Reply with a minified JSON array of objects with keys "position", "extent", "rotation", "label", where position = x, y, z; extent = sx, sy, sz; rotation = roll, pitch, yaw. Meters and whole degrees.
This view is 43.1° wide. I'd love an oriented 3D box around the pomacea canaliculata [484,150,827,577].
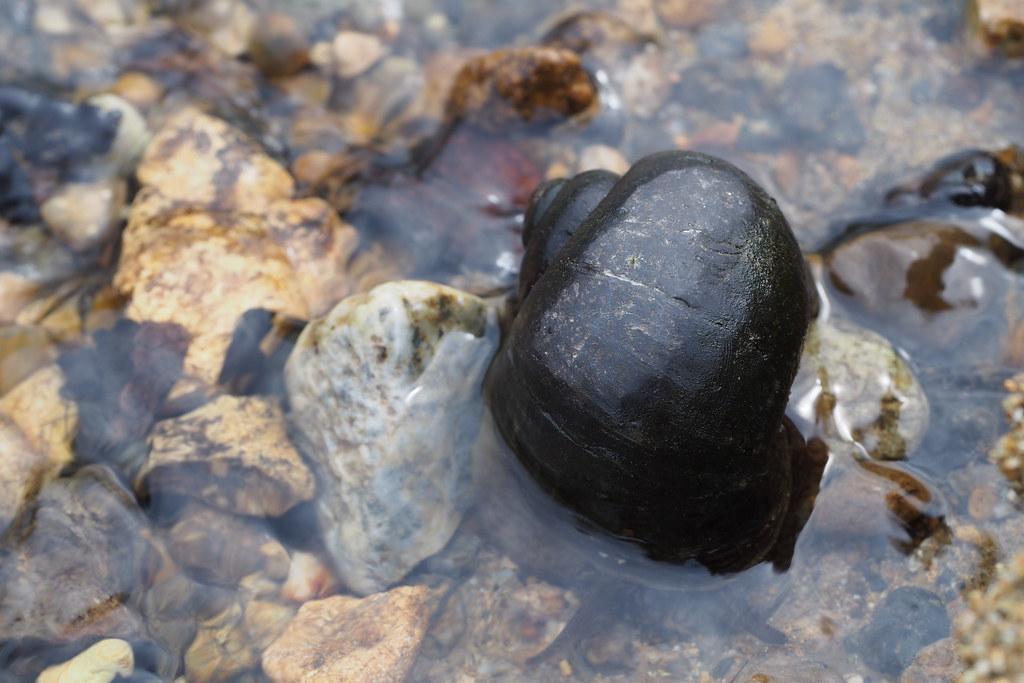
[{"position":[0.878,0.028,6.737],"extent":[1.854,1.172,2.177],"rotation":[-25,59,-9],"label":"pomacea canaliculata"}]
